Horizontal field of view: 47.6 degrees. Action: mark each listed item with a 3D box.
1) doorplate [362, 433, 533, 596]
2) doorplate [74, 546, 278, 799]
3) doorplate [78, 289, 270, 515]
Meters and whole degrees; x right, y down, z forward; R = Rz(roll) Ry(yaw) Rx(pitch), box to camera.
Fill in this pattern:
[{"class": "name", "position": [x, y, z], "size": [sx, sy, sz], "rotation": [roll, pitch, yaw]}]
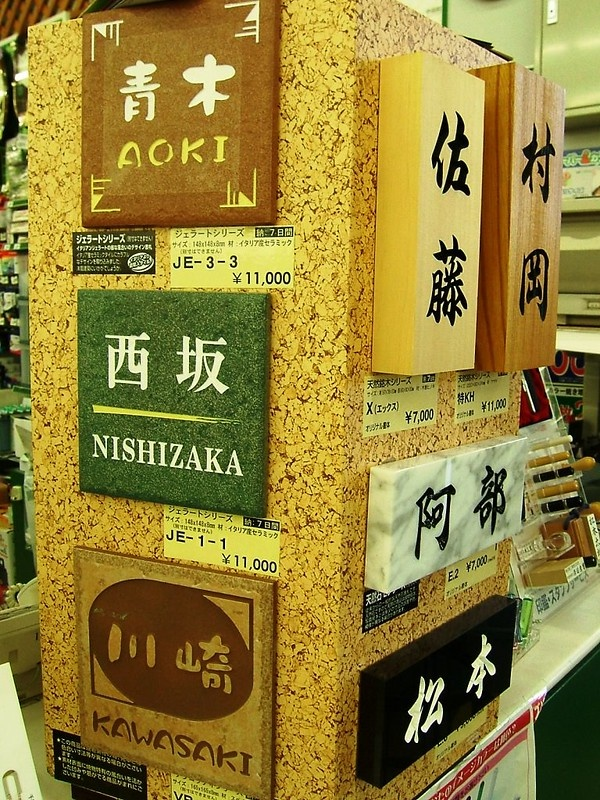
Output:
[{"class": "doorplate", "position": [0.209, 0.142, 0.913], "size": [0.300, 0.153, 0.041], "rotation": [-5, 10, -41]}, {"class": "doorplate", "position": [-0.151, 0.339, 0.870], "size": [0.311, 0.342, 0.034], "rotation": [6, 11, 28]}, {"class": "doorplate", "position": [-0.144, -0.006, 0.812], "size": [0.237, 0.264, 0.024], "rotation": [5, 10, 28]}]
